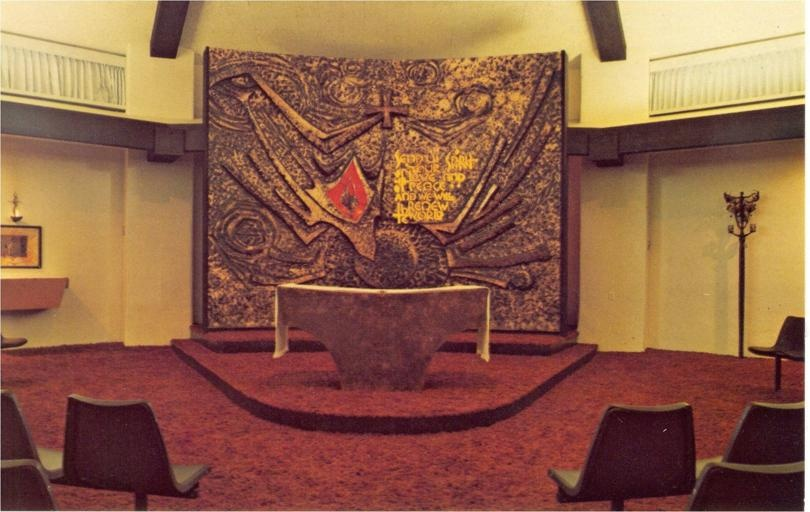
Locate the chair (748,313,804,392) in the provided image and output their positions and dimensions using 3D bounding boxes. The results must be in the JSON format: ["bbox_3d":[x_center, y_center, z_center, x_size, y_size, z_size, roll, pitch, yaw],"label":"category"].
[{"bbox_3d":[4.623,1.196,7.045,0.646,0.897,0.481,-6,12,-32],"label":"chair"}]

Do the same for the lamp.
[{"bbox_3d":[5.064,0.253,8.897,0.528,2.472,0.800,6,12,27],"label":"lamp"}]
